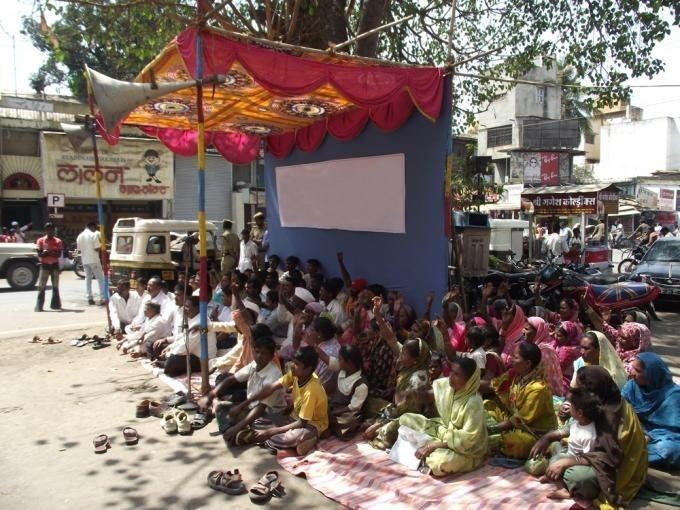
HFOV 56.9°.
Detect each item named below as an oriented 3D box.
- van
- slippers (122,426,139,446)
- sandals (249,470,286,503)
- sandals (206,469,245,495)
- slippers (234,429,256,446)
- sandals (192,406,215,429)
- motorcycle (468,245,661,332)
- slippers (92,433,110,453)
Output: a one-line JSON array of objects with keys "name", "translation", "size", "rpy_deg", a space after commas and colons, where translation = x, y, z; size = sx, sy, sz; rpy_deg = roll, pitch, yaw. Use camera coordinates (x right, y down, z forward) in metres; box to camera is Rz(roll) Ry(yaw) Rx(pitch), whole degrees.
[{"name": "van", "translation": [-3.964, -0.173, 14.750], "size": [2.610, 1.795, 1.749], "rpy_deg": [-8, 10, -38]}, {"name": "slippers", "translation": [-2.542, 2.184, 7.633], "size": [0.199, 0.146, 0.355], "rpy_deg": [0, 1, -20]}, {"name": "sandals", "translation": [-0.778, 2.450, 6.688], "size": [0.201, 0.115, 0.313], "rpy_deg": [10, 3, 27]}, {"name": "sandals", "translation": [-1.228, 2.430, 6.794], "size": [0.427, 0.209, 0.294], "rpy_deg": [0, 1, -9]}, {"name": "slippers", "translation": [-1.129, 2.170, 7.486], "size": [0.242, 0.187, 0.090], "rpy_deg": [0, 1, -11]}, {"name": "sandals", "translation": [-1.759, 2.059, 7.975], "size": [0.151, 0.073, 0.280], "rpy_deg": [-4, 17, 5]}, {"name": "motorcycle", "translation": [4.396, 0.535, 10.795], "size": [2.243, 1.461, 0.699], "rpy_deg": [0, 1, 14]}, {"name": "slippers", "translation": [-2.830, 2.230, 7.429], "size": [0.211, 0.152, 0.213], "rpy_deg": [1, 1, 4]}]
